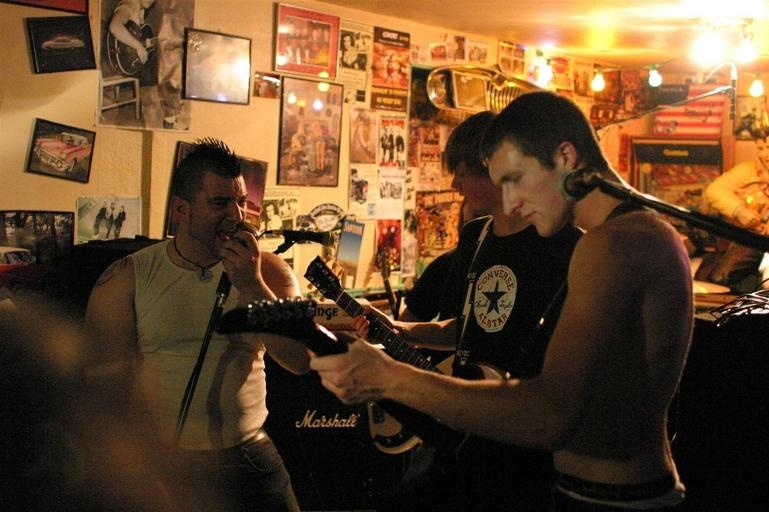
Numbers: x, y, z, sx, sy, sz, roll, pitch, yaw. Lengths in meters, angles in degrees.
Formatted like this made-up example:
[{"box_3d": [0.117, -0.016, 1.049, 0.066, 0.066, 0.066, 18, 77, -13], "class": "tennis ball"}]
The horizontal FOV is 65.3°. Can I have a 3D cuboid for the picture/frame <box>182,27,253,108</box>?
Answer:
[{"box_3d": [-1.119, -1.241, 3.939, 0.606, 0.545, 0.061, -2, 6, -36], "class": "picture/frame"}]

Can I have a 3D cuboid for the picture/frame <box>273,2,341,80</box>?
[{"box_3d": [-0.574, -1.536, 4.262, 0.613, 0.505, 0.078, 1, 7, -32], "class": "picture/frame"}]

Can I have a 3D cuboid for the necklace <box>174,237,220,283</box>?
[{"box_3d": [-0.898, 0.028, 2.824, 0.162, 0.206, 0.051, -26, 0, -25], "class": "necklace"}]

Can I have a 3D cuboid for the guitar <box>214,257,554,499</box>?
[{"box_3d": [-0.030, 0.504, 2.674, 1.630, 0.630, 0.194, 29, 41, 12], "class": "guitar"}]

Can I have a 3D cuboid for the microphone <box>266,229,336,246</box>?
[{"box_3d": [-0.438, -0.099, 3.119, 0.337, 0.088, 0.181, 2, 0, -17], "class": "microphone"}]
